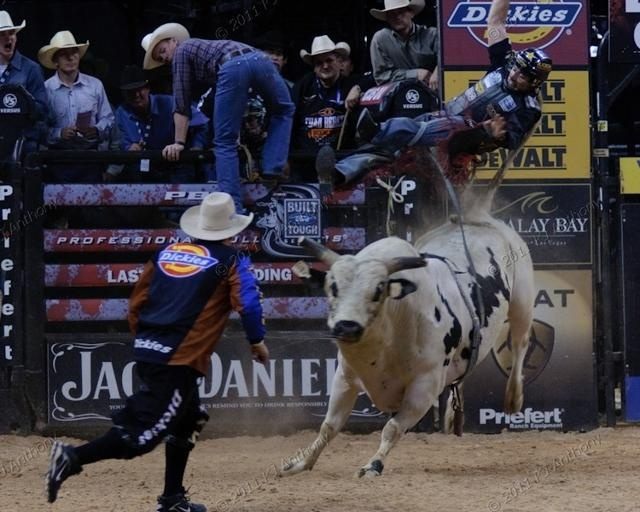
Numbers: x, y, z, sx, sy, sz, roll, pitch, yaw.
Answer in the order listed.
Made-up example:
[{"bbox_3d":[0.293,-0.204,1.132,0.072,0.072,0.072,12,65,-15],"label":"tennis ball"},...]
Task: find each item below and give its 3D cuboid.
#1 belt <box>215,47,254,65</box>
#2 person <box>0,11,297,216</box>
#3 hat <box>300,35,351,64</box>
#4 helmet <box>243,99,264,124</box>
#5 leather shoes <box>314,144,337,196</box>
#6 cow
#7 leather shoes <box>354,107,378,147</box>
[{"bbox_3d":[-0.917,-2.054,17.024,0.226,0.061,0.222,-23,9,-36],"label":"belt"},{"bbox_3d":[-1.134,-1.449,17.362,1.480,2.095,0.724,-1,-3,26],"label":"person"},{"bbox_3d":[0.040,-2.253,18.106,0.352,0.142,0.385,-11,-7,6],"label":"hat"},{"bbox_3d":[-0.719,-1.534,17.512,0.243,0.190,0.184,1,0,-23],"label":"helmet"},{"bbox_3d":[0.038,-0.811,16.030,0.181,0.489,0.204,0,12,5],"label":"leather shoes"},{"bbox_3d":[1.033,0.506,15.560,0.764,3.107,2.792,-2,-3,33],"label":"cow"},{"bbox_3d":[0.426,-1.233,16.115,0.157,0.293,0.440,34,-18,10],"label":"leather shoes"}]
